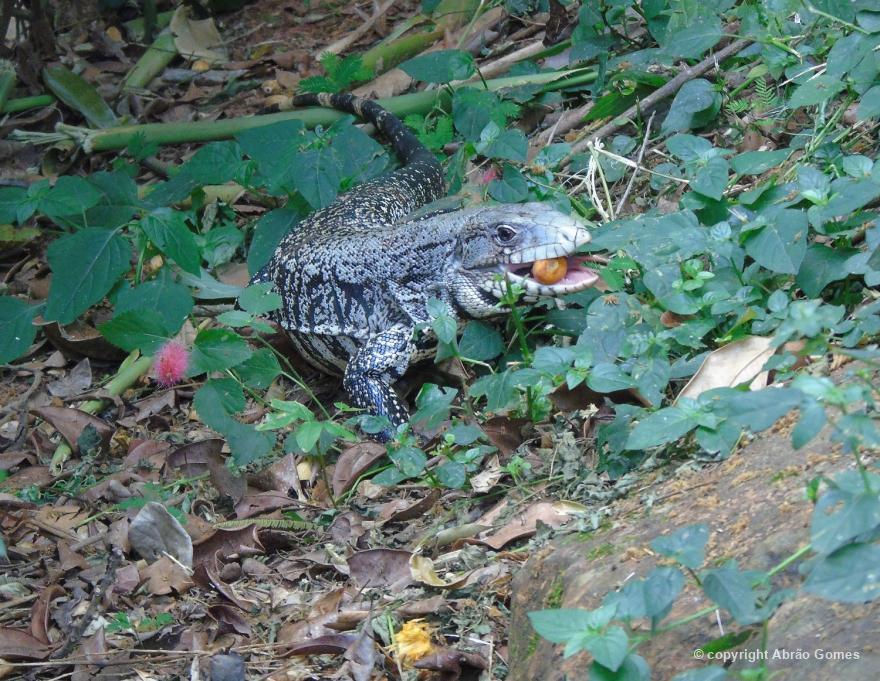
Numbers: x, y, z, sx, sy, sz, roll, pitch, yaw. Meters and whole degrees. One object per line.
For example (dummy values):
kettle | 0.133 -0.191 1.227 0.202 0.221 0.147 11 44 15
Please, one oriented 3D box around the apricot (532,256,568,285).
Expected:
apricot | 0.551 -0.346 4.832 0.168 0.106 0.119 -7 38 5
